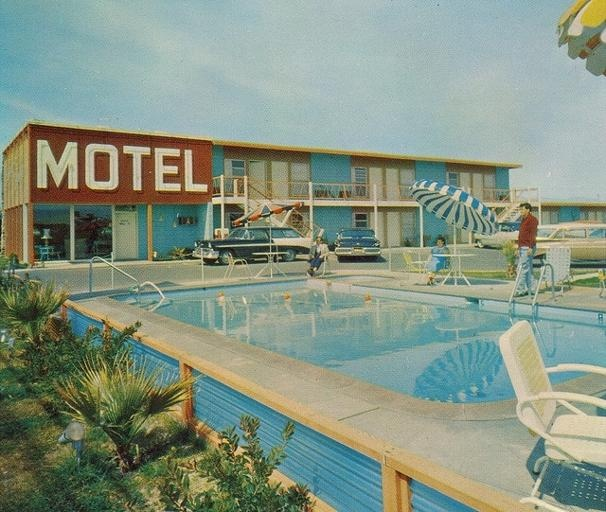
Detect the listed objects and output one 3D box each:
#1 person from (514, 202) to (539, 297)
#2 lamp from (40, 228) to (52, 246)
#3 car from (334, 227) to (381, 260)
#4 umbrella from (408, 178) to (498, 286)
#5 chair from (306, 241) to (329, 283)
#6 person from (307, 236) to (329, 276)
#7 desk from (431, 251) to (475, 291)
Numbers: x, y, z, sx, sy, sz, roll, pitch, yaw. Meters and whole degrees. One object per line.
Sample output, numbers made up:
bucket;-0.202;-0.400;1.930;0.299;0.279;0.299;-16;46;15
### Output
person;4.586;-0.107;10.408;0.381;1.937;1.358;0;6;24
lamp;-11.492;-0.846;22.764;0.229;0.761;0.503;-1;5;14
car;2.509;-0.475;23.295;1.915;1.480;2.175;-1;5;6
umbrella;3.916;-1.253;13.274;2.155;1.415;3.054;-1;5;12
chair;0.447;0.027;15.734;0.622;0.864;1.529;0;23;16
person;0.450;-0.045;15.706;0.592;0.777;1.356;-1;24;17
desk;4.122;0.412;14.700;1.342;0.857;1.276;0;-2;-31
